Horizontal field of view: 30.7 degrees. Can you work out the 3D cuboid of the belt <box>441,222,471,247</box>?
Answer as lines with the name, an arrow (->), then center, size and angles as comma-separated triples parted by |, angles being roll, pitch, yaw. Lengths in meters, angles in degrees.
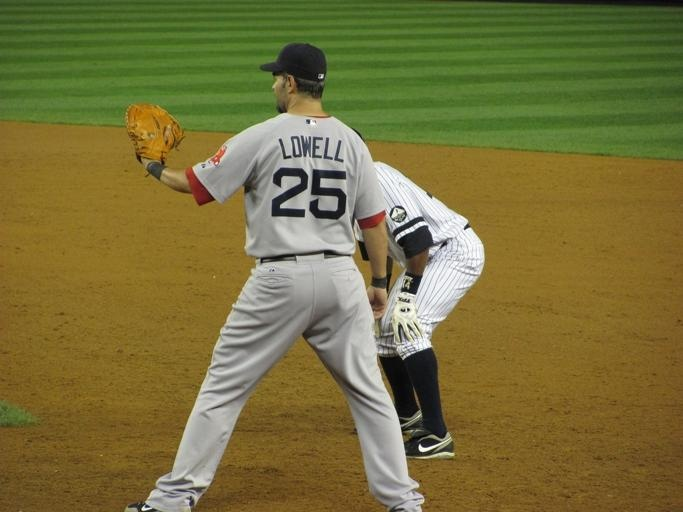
belt -> 1.097, -0.165, 12.044 | 0.261, 0.060, 0.200 | -35, 1, 11

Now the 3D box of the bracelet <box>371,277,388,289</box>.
bracelet -> 0.339, 0.285, 11.441 | 0.120, 0.081, 0.113 | -3, -1, 4

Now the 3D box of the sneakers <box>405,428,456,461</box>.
sneakers -> 0.816, 1.853, 11.828 | 0.547, 0.212, 0.214 | 1, 4, -7

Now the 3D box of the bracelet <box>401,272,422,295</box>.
bracelet -> 0.647, 0.294, 11.773 | 0.161, 0.203, 0.121 | 18, 13, -5

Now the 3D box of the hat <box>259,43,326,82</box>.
hat -> -0.423, -1.778, 11.286 | 0.637, 0.293, 0.401 | 12, 21, 19
